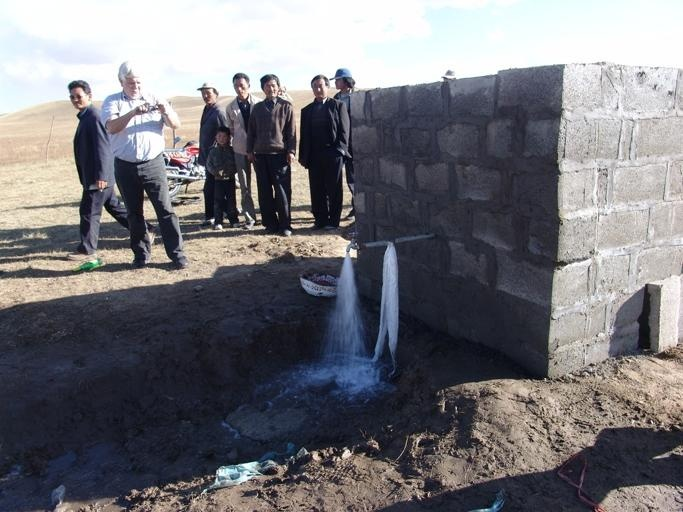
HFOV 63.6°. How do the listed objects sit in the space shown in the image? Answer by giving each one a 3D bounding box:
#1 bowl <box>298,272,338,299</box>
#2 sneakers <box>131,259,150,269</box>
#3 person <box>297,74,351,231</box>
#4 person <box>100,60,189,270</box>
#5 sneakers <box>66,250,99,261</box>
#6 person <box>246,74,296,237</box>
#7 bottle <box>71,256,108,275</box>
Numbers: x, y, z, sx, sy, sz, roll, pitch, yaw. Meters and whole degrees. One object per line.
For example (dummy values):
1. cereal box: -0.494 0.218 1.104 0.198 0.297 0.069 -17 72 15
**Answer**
1. bowl: -0.258 0.330 6.557 0.438 0.274 0.418 -6 18 2
2. sneakers: -2.788 0.106 7.573 0.132 0.168 0.061 -5 14 11
3. person: -0.248 -1.571 8.654 0.852 2.410 0.460 -4 18 8
4. person: -2.544 -1.074 7.042 1.018 2.654 0.742 -1 19 16
5. sneakers: -3.692 0.010 7.805 0.296 0.113 0.173 2 4 -17
6. person: -1.061 -1.512 8.490 0.799 2.421 0.544 -4 18 7
7. bottle: -3.468 0.136 7.586 0.149 0.150 0.466 1 11 31
